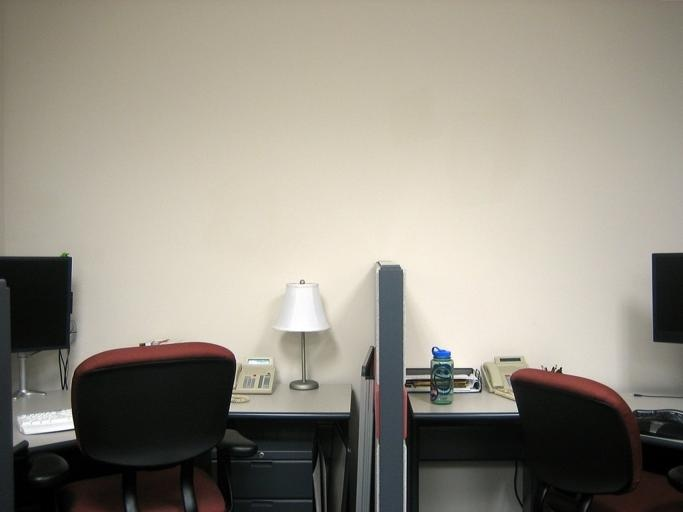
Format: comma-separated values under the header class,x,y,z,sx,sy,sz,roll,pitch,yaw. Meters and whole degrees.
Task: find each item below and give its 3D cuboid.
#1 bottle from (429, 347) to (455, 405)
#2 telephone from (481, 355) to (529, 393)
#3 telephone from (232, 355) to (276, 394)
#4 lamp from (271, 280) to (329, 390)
class,x,y,z,sx,sy,sz,roll,pitch,yaw
bottle,0.545,0.646,3.135,0.130,0.255,0.255,-1,2,10
telephone,0.909,0.677,3.260,0.205,0.137,0.212,-2,45,0
telephone,-0.484,0.675,3.317,0.226,0.100,0.294,-4,21,-8
lamp,-0.224,0.457,3.313,0.307,0.617,0.287,-2,3,-1
